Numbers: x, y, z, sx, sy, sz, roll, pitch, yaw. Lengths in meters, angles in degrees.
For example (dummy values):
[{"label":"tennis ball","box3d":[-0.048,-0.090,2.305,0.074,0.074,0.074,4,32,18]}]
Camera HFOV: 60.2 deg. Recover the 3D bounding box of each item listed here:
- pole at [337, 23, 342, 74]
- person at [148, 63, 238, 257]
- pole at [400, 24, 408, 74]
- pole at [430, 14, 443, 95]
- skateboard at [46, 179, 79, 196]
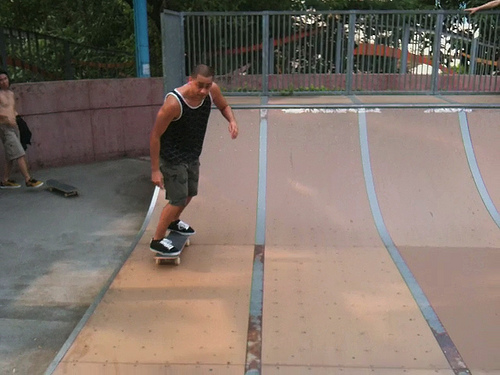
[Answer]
[{"label":"pole","box3d":[1.726,-2.660,8.267,0.062,0.907,0.173,7,16,20]},{"label":"person","box3d":[-0.605,-0.322,4.721,0.808,2.131,0.975,27,33,31]},{"label":"pole","box3d":[2.971,-2.627,8.216,0.107,0.885,0.379,7,16,20]},{"label":"pole","box3d":[3.535,-2.481,8.125,0.137,1.437,0.340,9,17,23]},{"label":"skateboard","box3d":[-3.087,-0.011,7.064,0.233,0.132,0.818,-18,34,-42]}]
